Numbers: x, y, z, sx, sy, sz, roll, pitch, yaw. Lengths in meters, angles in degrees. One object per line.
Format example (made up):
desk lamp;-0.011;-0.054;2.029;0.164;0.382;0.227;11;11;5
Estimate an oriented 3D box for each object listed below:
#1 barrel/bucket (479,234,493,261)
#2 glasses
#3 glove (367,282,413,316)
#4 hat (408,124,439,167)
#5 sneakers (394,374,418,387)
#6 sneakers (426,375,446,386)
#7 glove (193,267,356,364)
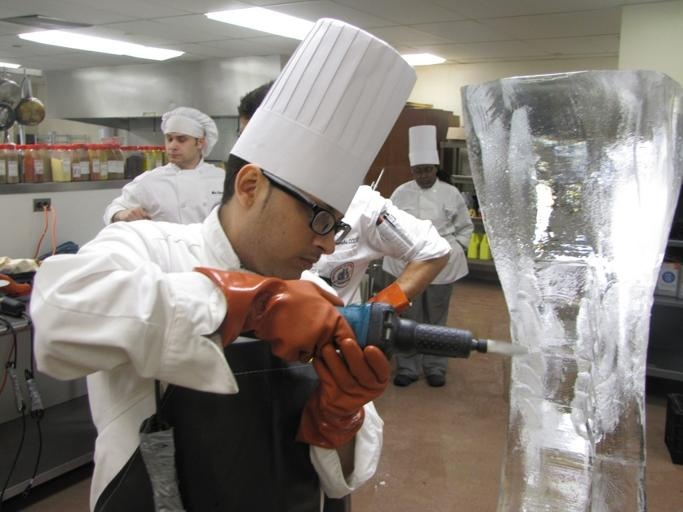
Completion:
barrel/bucket;1.654;-0.101;6.249;0.132;0.310;0.455;2;9;15
glasses;-0.085;-0.102;1.116;0.208;0.060;0.218;34;2;19
glove;0.152;0.123;1.654;0.134;0.086;0.057;-22;-28;6
hat;0.647;-0.876;4.356;0.264;0.344;0.295;-2;5;5
sneakers;0.442;0.866;3.808;0.063;0.089;0.201;-3;-11;22
sneakers;0.659;0.876;3.847;0.147;0.091;0.098;8;-13;-21
glove;-0.096;0.083;0.877;0.245;0.112;0.157;14;-3;-28
